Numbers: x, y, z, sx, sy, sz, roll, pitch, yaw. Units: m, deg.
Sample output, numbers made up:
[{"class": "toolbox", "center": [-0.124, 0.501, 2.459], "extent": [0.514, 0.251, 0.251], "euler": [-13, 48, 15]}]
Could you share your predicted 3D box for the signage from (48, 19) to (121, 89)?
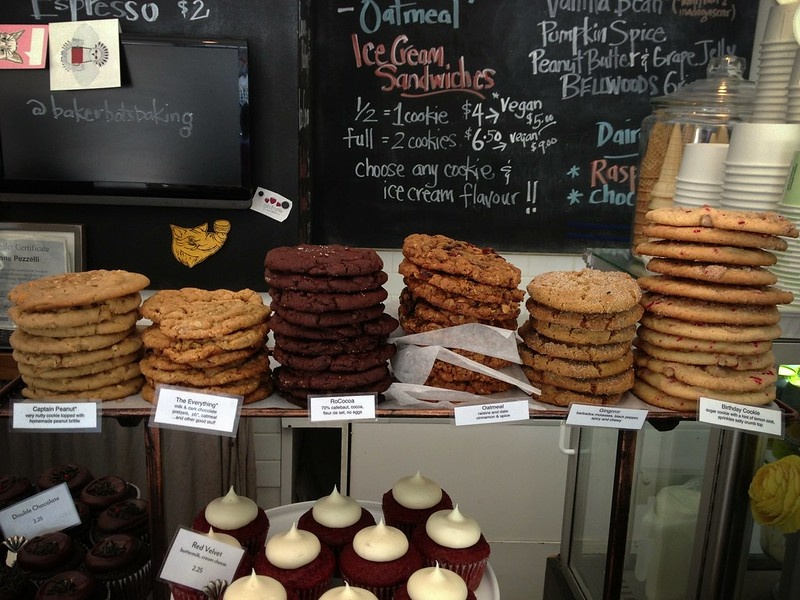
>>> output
[{"class": "signage", "center": [-1.296, -1.011, 2.627], "extent": [0.336, 0.288, 0.031], "euler": [-2, 25, -11]}]

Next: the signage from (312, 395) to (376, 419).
[{"class": "signage", "center": [-0.142, 0.267, 1.586], "extent": [0.164, 0.080, 0.055], "euler": [-1, 17, -4]}]
